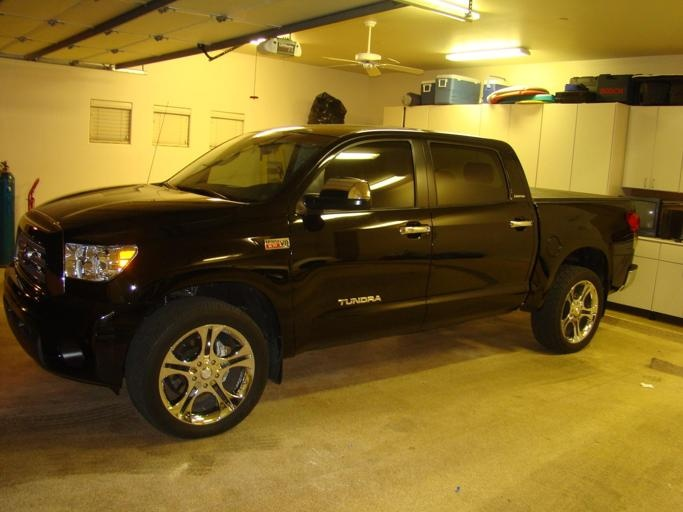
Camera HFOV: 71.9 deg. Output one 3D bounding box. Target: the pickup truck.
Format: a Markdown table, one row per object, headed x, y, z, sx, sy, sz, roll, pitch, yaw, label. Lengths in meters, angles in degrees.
| x | y | z | sx | sy | sz | roll | pitch | yaw | label |
| --- | --- | --- | --- | --- | --- | --- | --- | --- | --- |
| -0.005 | 0.059 | 4.308 | 4.482 | 1.544 | 2.419 | -1 | 2 | -29 | pickup truck |

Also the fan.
| x | y | z | sx | sy | sz | roll | pitch | yaw | label |
| --- | --- | --- | --- | --- | --- | --- | --- | --- | --- |
| 0.362 | -3.431 | 7.769 | 1.541 | 0.702 | 1.595 | -19 | 28 | -40 | fan |

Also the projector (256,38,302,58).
| x | y | z | sx | sy | sz | roll | pitch | yaw | label |
| --- | --- | --- | --- | --- | --- | --- | --- | --- | --- |
| -0.866 | -2.885 | 6.475 | 0.577 | 0.259 | 0.278 | -3 | 12 | -32 | projector |

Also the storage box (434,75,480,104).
| x | y | z | sx | sy | sz | roll | pitch | yaw | label |
| --- | --- | --- | --- | --- | --- | --- | --- | --- | --- |
| 2.561 | -3.377 | 9.936 | 0.723 | 0.426 | 0.743 | 8 | 16 | 35 | storage box |

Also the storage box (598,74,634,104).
| x | y | z | sx | sy | sz | roll | pitch | yaw | label |
| --- | --- | --- | --- | --- | --- | --- | --- | --- | --- |
| 4.718 | -2.802 | 7.959 | 0.597 | 0.519 | 0.329 | 2 | -1 | 42 | storage box |

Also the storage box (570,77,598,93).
| x | y | z | sx | sy | sz | roll | pitch | yaw | label |
| --- | --- | --- | --- | --- | --- | --- | --- | --- | --- |
| 4.444 | -3.103 | 8.406 | 0.423 | 0.152 | 0.429 | 1 | 30 | 47 | storage box |
